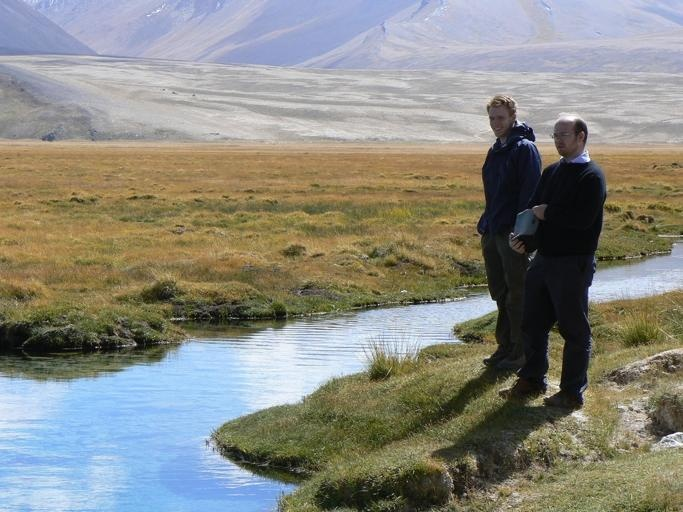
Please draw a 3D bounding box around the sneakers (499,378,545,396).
[{"bbox_3d":[2.480,1.826,12.001,0.610,0.247,0.218,1,0,5],"label":"sneakers"}]

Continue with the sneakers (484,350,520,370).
[{"bbox_3d":[2.394,1.588,12.996,0.172,0.219,0.530,-1,-8,-24],"label":"sneakers"}]

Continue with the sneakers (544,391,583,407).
[{"bbox_3d":[2.980,1.936,11.648,0.426,0.172,0.217,4,0,4],"label":"sneakers"}]
